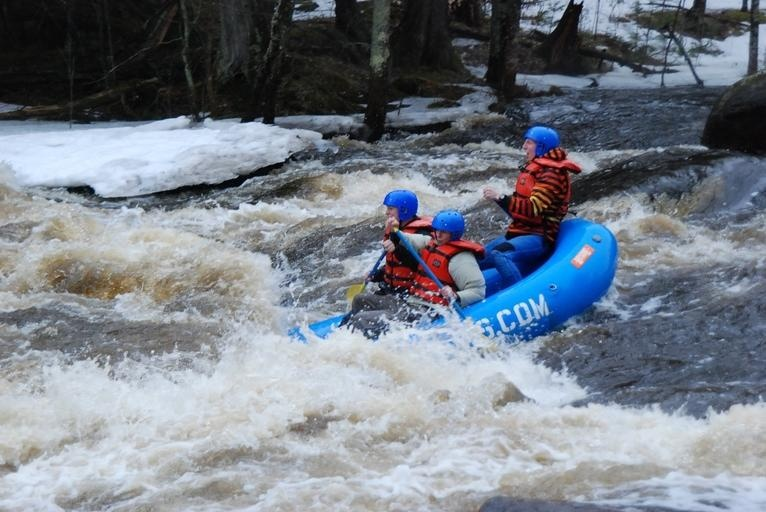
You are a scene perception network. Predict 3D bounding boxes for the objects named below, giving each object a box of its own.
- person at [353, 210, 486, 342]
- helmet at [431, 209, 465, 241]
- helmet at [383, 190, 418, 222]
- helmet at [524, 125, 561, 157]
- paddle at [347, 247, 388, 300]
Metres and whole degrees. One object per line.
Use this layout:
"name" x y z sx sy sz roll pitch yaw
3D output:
"person" 0.524 0.232 12.495 1.781 1.692 0.941 3 18 -1
"helmet" 0.928 -0.440 12.495 0.488 0.329 0.361 -21 34 -27
"helmet" 0.223 -0.718 12.928 0.553 0.373 0.439 -13 19 -43
"helmet" 2.380 -1.688 13.324 0.560 0.354 0.440 7 21 12
"paddle" -0.232 0.317 13.136 0.303 1.047 0.091 37 7 3
